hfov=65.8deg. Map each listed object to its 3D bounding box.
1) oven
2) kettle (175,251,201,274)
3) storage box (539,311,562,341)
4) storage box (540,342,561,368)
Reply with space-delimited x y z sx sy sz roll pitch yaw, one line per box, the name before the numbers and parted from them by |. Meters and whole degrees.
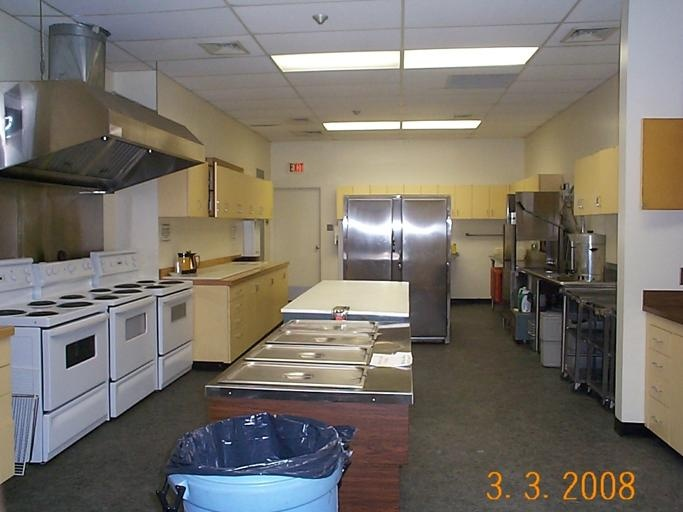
oven | -2.006 0.853 4.952 0.834 1.233 1.664 -1 2 7
kettle | -1.665 0.081 5.880 0.158 0.244 0.270 0 -3 18
storage box | 2.255 0.751 5.815 0.236 0.351 0.362 0 0 14
storage box | 2.289 1.032 5.821 0.222 0.310 0.320 0 -1 24
